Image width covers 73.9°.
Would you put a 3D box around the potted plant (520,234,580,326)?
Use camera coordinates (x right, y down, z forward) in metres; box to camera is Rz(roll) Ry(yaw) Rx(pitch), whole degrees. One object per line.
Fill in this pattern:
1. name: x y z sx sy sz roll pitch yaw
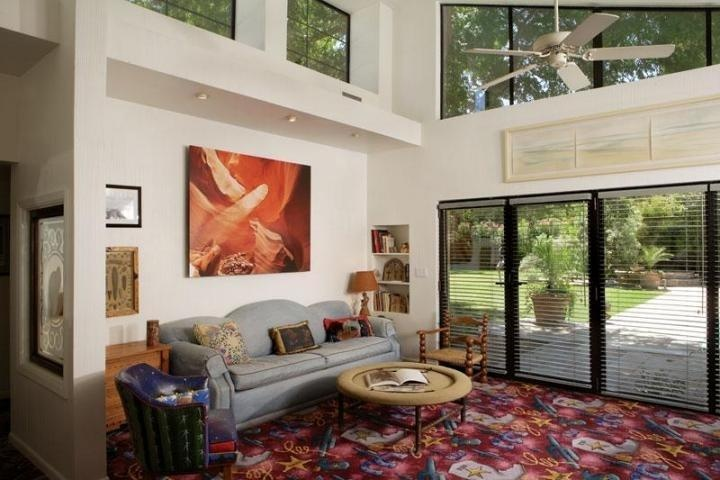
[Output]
1. potted plant: 2.658 0.562 6.695 0.839 1.259 0.277 4 11 24

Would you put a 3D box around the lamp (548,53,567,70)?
1. lamp: 1.867 -1.685 4.563 0.113 0.074 0.111 6 -10 -38

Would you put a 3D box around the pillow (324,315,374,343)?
1. pillow: -0.172 1.316 7.059 0.436 0.249 0.113 -4 -43 -12

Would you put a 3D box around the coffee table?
1. coffee table: 0.492 1.870 5.532 1.508 0.659 1.204 -1 9 -3

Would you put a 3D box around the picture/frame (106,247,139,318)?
1. picture/frame: -2.831 0.484 5.702 0.417 0.823 0.189 -7 12 -32

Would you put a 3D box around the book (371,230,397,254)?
1. book: 0.376 0.025 8.199 0.439 0.396 0.152 -1 -3 -17
